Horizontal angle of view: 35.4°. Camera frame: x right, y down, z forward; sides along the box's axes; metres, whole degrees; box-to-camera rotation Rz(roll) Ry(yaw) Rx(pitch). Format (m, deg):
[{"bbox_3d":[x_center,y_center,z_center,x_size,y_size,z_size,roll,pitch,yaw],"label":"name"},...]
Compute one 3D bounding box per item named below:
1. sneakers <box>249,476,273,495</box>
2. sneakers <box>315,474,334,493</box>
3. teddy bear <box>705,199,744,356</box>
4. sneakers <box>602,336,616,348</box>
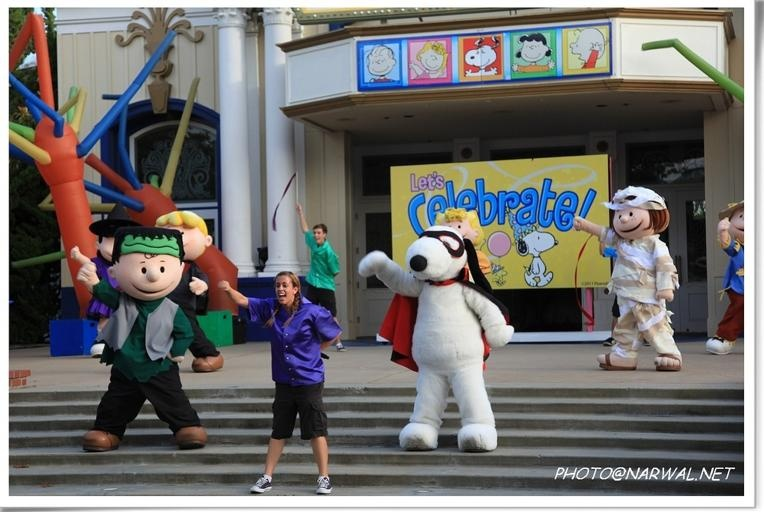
[{"bbox_3d":[-1.561,3.032,15.921,0.320,0.261,0.241,1,1,-24],"label":"sneakers"},{"bbox_3d":[-0.745,3.015,15.890,0.219,0.271,0.421,1,1,-3],"label":"sneakers"},{"bbox_3d":[5.735,0.378,19.851,0.525,2.080,0.987,1,1,11],"label":"teddy bear"},{"bbox_3d":[4.017,1.506,21.317,0.214,0.240,0.620,3,0,7],"label":"sneakers"}]
